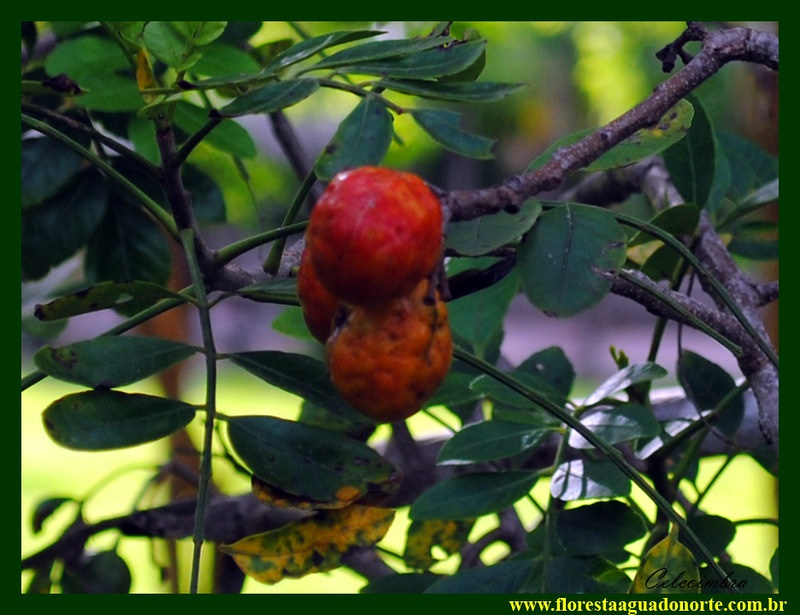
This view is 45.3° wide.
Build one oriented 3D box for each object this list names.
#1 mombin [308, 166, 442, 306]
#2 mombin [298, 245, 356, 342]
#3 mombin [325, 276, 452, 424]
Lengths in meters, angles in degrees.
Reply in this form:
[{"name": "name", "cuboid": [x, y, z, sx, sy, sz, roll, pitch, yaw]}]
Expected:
[{"name": "mombin", "cuboid": [-0.016, -0.093, 0.992, 0.136, 0.181, 0.131, 12, -71, 24]}, {"name": "mombin", "cuboid": [-0.088, -0.016, 1.003, 0.060, 0.058, 0.095, -10, -82, 10]}, {"name": "mombin", "cuboid": [0.000, 0.040, 1.030, 0.134, 0.139, 0.163, 14, -71, 43]}]
